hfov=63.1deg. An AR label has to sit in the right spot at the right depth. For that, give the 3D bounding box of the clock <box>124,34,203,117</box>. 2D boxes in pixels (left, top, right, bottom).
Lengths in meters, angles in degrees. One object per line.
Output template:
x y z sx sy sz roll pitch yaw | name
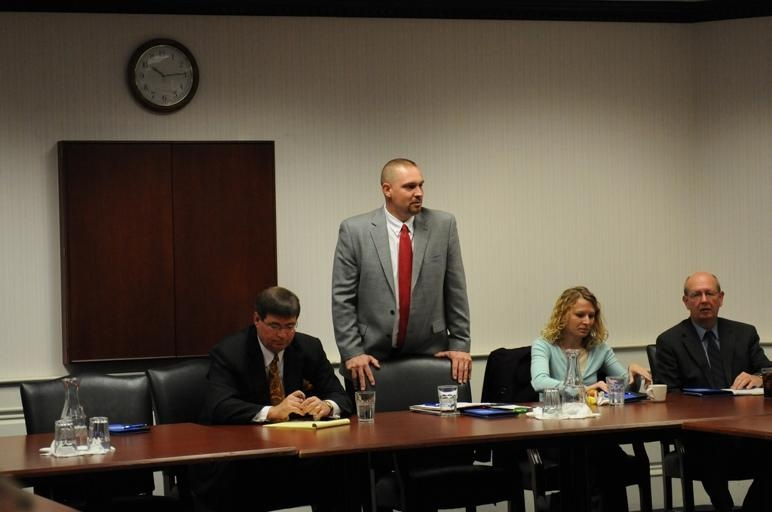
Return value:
-1.791 -1.429 4.967 0.522 0.557 0.079 13 1 -8 | clock

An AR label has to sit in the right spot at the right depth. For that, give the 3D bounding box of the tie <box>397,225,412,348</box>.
0.114 0.182 3.855 0.124 0.613 0.070 -3 -1 -1 | tie

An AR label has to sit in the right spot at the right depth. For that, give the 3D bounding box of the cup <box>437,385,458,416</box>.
0.320 0.738 3.219 0.120 0.146 0.122 -1 -6 0 | cup

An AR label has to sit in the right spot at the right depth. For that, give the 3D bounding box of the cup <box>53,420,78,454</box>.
-1.306 0.724 2.524 0.138 0.139 0.066 -5 -2 38 | cup

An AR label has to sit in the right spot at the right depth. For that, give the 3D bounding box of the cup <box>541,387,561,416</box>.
0.811 0.721 3.142 0.112 0.159 0.116 -1 -1 0 | cup

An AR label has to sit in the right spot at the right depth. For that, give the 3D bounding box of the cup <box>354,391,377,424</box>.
-0.097 0.723 3.023 0.124 0.154 0.125 -1 -8 0 | cup

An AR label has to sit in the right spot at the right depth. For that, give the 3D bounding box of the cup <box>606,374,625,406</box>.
1.225 0.714 3.340 0.120 0.179 0.126 0 -9 0 | cup

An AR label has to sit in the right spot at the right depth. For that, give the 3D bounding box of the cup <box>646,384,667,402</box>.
1.497 0.754 3.466 0.108 0.078 0.073 -4 -3 4 | cup

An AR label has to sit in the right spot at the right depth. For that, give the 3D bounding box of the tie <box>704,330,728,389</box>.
2.191 0.696 4.226 0.089 0.432 0.111 -9 -7 -7 | tie

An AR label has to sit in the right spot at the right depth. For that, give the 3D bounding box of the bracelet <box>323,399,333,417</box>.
-0.280 0.746 3.103 0.026 0.065 0.046 -11 18 -29 | bracelet

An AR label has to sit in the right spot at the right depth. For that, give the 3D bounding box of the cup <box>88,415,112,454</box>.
-1.159 0.737 2.604 0.117 0.131 0.118 -2 -4 0 | cup
